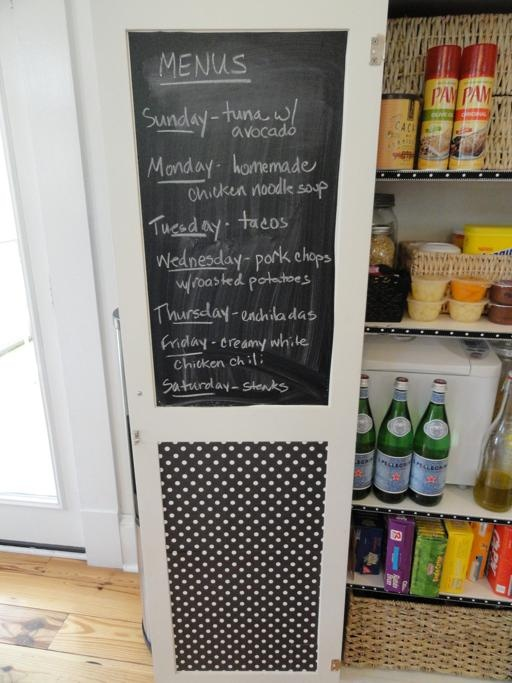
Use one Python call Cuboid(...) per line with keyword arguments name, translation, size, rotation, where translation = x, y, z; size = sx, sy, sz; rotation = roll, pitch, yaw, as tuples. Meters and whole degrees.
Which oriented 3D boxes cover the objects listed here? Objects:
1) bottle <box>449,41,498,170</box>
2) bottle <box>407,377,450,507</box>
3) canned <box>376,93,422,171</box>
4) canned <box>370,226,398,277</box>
Cuboid(name="bottle", translation=(0.475, -0.513, 1.205), size=(0.072, 0.253, 0.037), rotation=(7, 20, 17))
Cuboid(name="bottle", translation=(0.456, 0.296, 1.436), size=(0.088, 0.272, 0.079), rotation=(7, 20, 17))
Cuboid(name="canned", translation=(0.323, -0.476, 1.243), size=(0.087, 0.159, 0.042), rotation=(3, 19, 4))
Cuboid(name="canned", translation=(0.338, -0.250, 1.420), size=(0.110, 0.097, 0.058), rotation=(-18, 27, -41))
